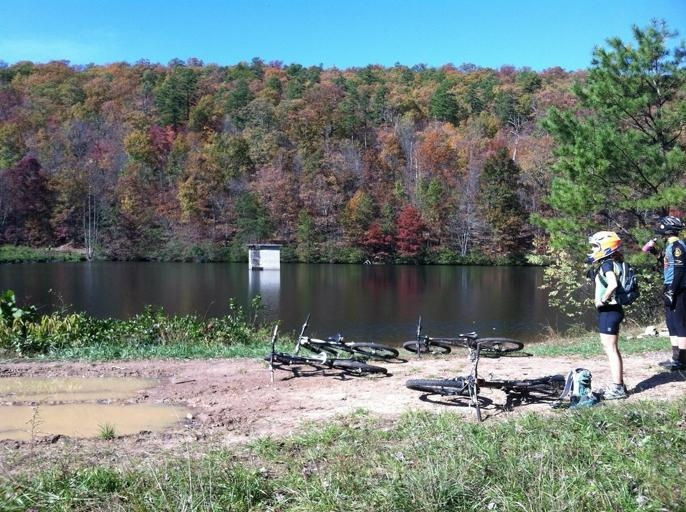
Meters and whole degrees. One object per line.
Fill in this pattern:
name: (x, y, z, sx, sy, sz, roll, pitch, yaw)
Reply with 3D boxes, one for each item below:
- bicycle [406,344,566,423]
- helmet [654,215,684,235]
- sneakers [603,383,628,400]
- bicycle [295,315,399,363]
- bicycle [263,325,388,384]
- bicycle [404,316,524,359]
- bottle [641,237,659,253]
bicycle: (3.248, 2.713, 19.624, 3.401, 1.416, 1.241, 0, 14, 2)
helmet: (7.610, -0.642, 20.688, 0.487, 0.419, 0.558, -20, 27, -38)
sneakers: (5.939, 2.985, 19.430, 0.625, 0.283, 0.251, 0, -6, 2)
bicycle: (-0.170, 2.513, 23.651, 2.168, 1.441, 1.370, 11, 8, 42)
bicycle: (-0.486, 2.347, 22.594, 2.406, 1.572, 1.507, 7, -11, -8)
bicycle: (3.190, 2.466, 24.528, 2.493, 1.637, 1.599, 3, 0, 24)
bottle: (8.086, -0.297, 23.276, 0.179, 0.190, 0.482, 25, 24, 26)
